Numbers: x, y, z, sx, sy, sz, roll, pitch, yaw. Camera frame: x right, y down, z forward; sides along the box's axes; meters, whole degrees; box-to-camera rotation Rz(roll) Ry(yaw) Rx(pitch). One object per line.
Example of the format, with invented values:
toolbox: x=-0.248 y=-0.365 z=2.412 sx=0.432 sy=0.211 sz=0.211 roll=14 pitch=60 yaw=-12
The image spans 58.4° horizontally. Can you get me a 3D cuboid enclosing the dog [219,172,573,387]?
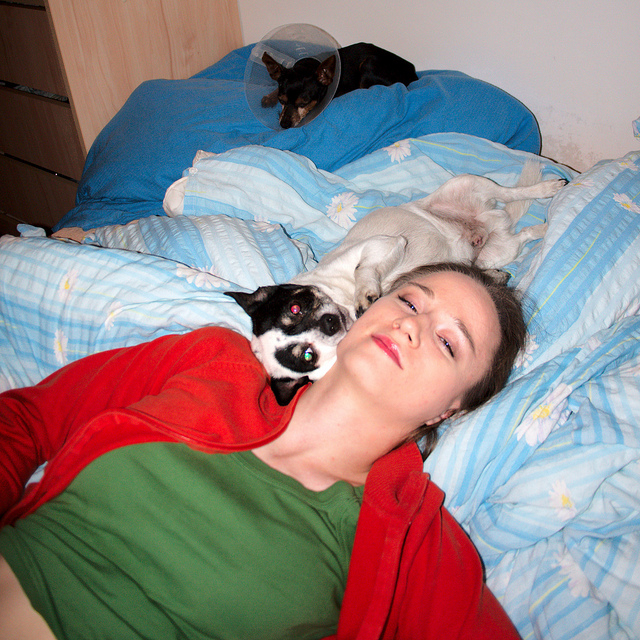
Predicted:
dog: x=0.255 y=-0.123 z=1.809 sx=0.377 sy=0.286 sz=0.786 roll=44 pitch=87 yaw=2

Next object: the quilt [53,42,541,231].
quilt: x=-0.208 y=-0.922 z=2.699 sx=1.549 sy=0.450 sz=1.254 roll=-17 pitch=40 yaw=14
